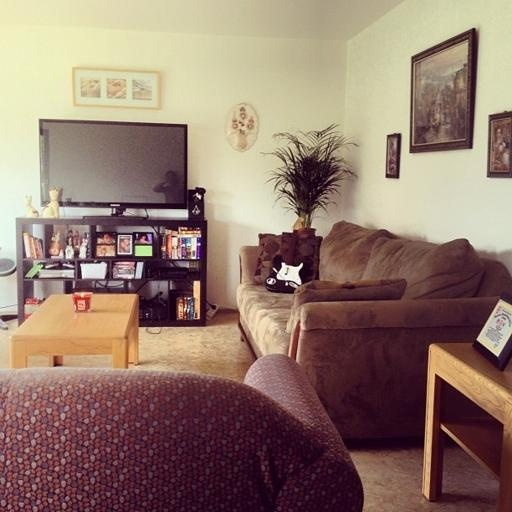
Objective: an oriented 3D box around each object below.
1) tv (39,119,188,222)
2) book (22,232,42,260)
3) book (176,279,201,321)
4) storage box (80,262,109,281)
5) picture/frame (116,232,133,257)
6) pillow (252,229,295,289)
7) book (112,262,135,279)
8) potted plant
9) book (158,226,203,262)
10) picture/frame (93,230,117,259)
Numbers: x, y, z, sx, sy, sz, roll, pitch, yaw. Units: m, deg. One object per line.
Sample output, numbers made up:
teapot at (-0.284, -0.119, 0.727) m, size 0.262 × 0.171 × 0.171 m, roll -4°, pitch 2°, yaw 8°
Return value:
tv at (-1.311, -0.789, 4.316) m, size 1.026 × 0.588 × 0.037 m, roll 0°, pitch 1°, yaw -13°
book at (-1.948, -0.081, 4.190) m, size 0.172 × 0.254 × 0.072 m, roll 4°, pitch -1°, yaw -26°
book at (-0.617, 0.396, 4.271) m, size 0.254 × 0.338 × 0.106 m, roll 2°, pitch 2°, yaw 3°
storage box at (-1.424, 0.143, 4.215) m, size 0.201 × 0.118 × 0.132 m, roll 1°, pitch 0°, yaw -6°
picture/frame at (-1.174, -0.094, 4.265) m, size 0.207 × 0.279 × 0.029 m, roll 1°, pitch 4°, yaw -6°
pillow at (0.146, 0.031, 3.880) m, size 0.375 × 0.366 × 0.115 m, roll 0°, pitch -7°, yaw 38°
book at (-1.172, 0.129, 4.300) m, size 0.211 × 0.193 × 0.152 m, roll 1°, pitch 7°, yaw -7°
potted plant at (0.528, -0.772, 4.696) m, size 1.060 × 1.010 × 1.004 m, roll -1°, pitch -1°, yaw -3°
book at (-0.688, -0.145, 4.367) m, size 0.399 × 0.350 × 0.281 m, roll 1°, pitch 5°, yaw -2°
picture/frame at (-1.335, -0.080, 4.269) m, size 0.204 × 0.276 × 0.207 m, roll 1°, pitch 7°, yaw -6°
